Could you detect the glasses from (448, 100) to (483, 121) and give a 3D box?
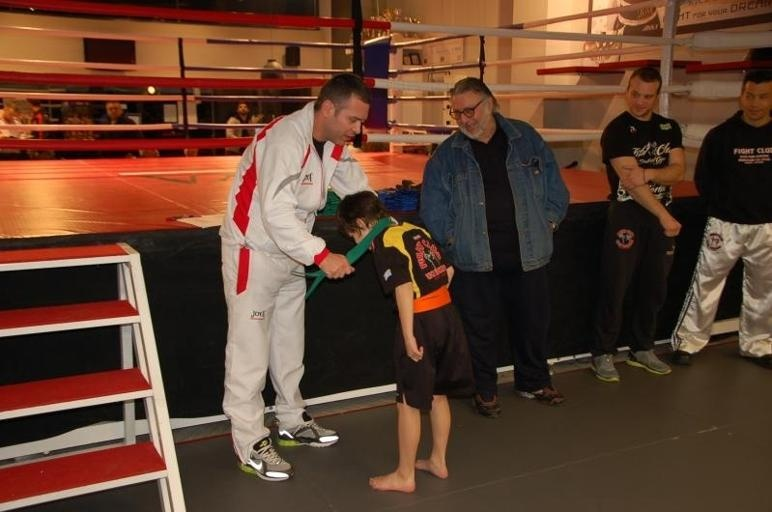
[{"bbox_3d":[0.463,-0.849,3.341,0.130,0.037,0.127,-35,25,-35],"label":"glasses"}]

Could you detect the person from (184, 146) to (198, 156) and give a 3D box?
[{"bbox_3d":[-2.907,-1.543,8.373,0.168,0.149,1.538,-7,15,-19],"label":"person"}]

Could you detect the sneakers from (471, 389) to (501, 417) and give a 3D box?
[{"bbox_3d":[0.651,0.967,3.714,0.114,0.098,0.231,-2,1,-19],"label":"sneakers"}]

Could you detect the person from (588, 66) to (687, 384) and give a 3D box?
[{"bbox_3d":[1.789,-0.198,3.958,0.572,2.161,0.564,1,17,12],"label":"person"}]

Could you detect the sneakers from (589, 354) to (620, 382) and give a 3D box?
[{"bbox_3d":[1.589,0.814,4.148,0.108,0.113,0.272,-1,3,-7],"label":"sneakers"}]

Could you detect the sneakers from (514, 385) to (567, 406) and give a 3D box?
[{"bbox_3d":[1.057,0.935,3.849,0.331,0.135,0.128,0,3,25],"label":"sneakers"}]

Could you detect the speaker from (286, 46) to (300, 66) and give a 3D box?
[{"bbox_3d":[-1.793,-3.824,10.841,0.210,0.366,0.478,-10,17,-25],"label":"speaker"}]

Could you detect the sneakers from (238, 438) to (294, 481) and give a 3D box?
[{"bbox_3d":[-0.667,1.131,3.208,0.388,0.172,0.153,5,9,34],"label":"sneakers"}]

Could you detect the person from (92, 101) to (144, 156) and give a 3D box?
[{"bbox_3d":[-3.819,-1.821,8.118,0.670,0.788,3.566,-10,16,-24],"label":"person"}]

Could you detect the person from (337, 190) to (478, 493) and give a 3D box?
[{"bbox_3d":[0.153,0.545,3.006,0.610,1.400,0.413,-8,17,-18],"label":"person"}]

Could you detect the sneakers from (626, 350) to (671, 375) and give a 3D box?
[{"bbox_3d":[1.962,0.783,4.219,0.338,0.185,0.124,1,8,40],"label":"sneakers"}]

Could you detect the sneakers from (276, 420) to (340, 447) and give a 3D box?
[{"bbox_3d":[-0.472,1.091,3.488,0.401,0.156,0.136,0,-5,2],"label":"sneakers"}]
